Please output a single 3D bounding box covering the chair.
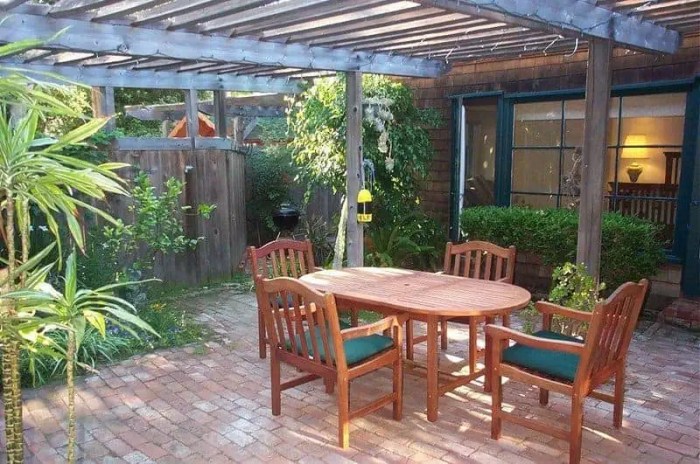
[{"bbox_3d":[0.425,0.909,4.132,2.543,1.163,1.530,5,8,42],"label":"chair"}]

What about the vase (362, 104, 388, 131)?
[{"bbox_3d":[0.359,-1.656,7.616,0.246,0.375,0.374,-17,-11,30],"label":"vase"}]

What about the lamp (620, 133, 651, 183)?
[{"bbox_3d":[3.694,-0.934,6.736,0.347,0.590,0.337,3,4,10],"label":"lamp"}]
